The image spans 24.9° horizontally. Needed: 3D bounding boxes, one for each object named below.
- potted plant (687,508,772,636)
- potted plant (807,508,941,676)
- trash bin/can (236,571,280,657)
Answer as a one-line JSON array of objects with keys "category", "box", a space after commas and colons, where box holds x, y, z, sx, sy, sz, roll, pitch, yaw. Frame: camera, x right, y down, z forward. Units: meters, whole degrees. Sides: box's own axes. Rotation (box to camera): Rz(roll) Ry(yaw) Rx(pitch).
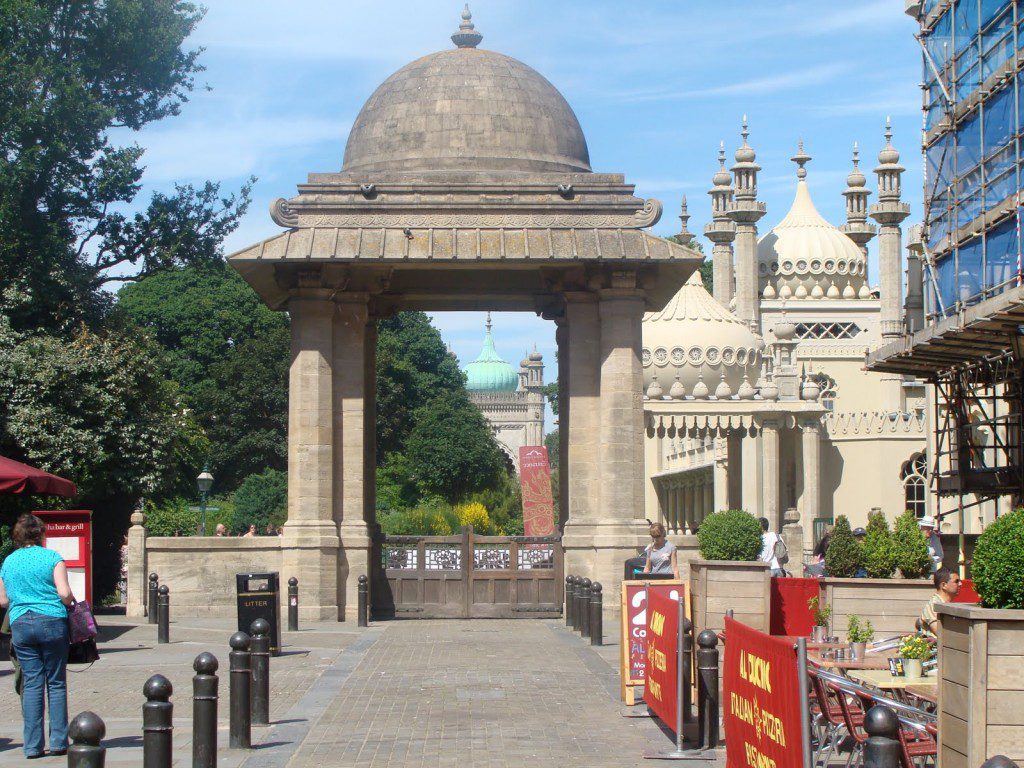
[{"category": "potted plant", "box": [3.750, 3.257, 39.837, 1.401, 2.048, 1.594, -3, 2, 15]}, {"category": "potted plant", "box": [6.384, 3.596, 40.694, 2.062, 2.493, 2.007, -5, -21, 20]}, {"category": "trash bin/can", "box": [-4.794, 4.367, 44.204, 0.776, 1.087, 1.277, -4, 2, -8]}]
